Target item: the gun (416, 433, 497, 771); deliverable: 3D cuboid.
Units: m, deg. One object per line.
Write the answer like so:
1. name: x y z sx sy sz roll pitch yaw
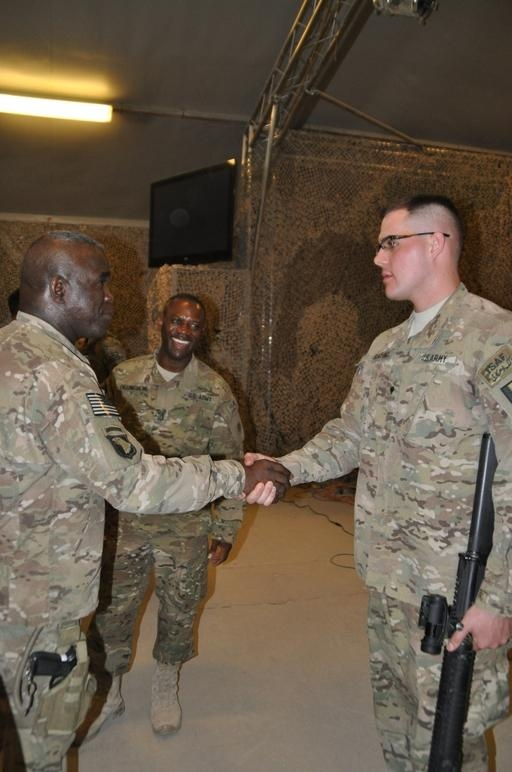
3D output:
1. gun: 0.460 0.500 1.508 0.146 0.769 0.228 5 8 17

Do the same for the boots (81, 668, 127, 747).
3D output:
1. boots: -0.621 1.174 2.417 0.275 0.166 0.089 -6 14 -32

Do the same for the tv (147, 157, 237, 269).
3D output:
1. tv: -0.569 -1.465 5.632 1.031 0.771 0.090 4 5 40

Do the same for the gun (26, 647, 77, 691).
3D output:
1. gun: -0.445 0.611 1.421 0.094 0.088 0.068 31 -11 -9

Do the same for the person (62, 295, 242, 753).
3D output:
1. person: -0.386 0.527 2.562 0.756 1.634 0.536 6 2 -22

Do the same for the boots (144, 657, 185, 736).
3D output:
1. boots: -0.337 1.174 2.423 0.128 0.210 0.057 -4 -20 17
